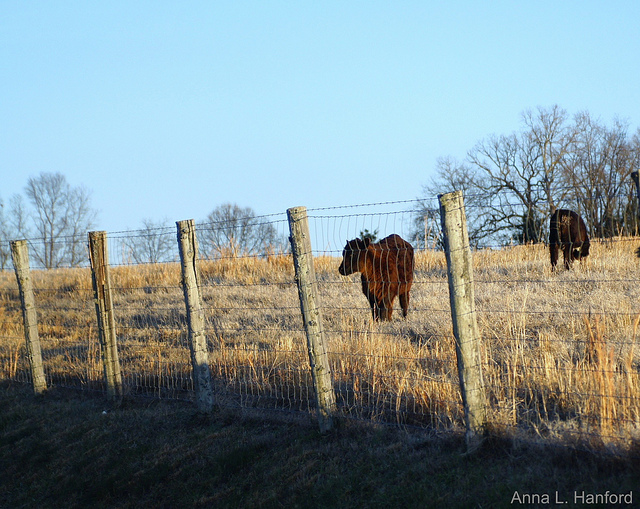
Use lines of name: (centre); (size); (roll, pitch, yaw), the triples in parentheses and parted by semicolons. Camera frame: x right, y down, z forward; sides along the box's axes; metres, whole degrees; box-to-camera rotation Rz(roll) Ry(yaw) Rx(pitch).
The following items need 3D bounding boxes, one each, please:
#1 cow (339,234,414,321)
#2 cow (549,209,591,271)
cow: (1.150, 0.463, 16.974); (0.597, 1.686, 2.114); (-4, 0, 44)
cow: (5.533, -0.389, 20.295); (0.476, 1.384, 1.953); (3, 6, 39)
